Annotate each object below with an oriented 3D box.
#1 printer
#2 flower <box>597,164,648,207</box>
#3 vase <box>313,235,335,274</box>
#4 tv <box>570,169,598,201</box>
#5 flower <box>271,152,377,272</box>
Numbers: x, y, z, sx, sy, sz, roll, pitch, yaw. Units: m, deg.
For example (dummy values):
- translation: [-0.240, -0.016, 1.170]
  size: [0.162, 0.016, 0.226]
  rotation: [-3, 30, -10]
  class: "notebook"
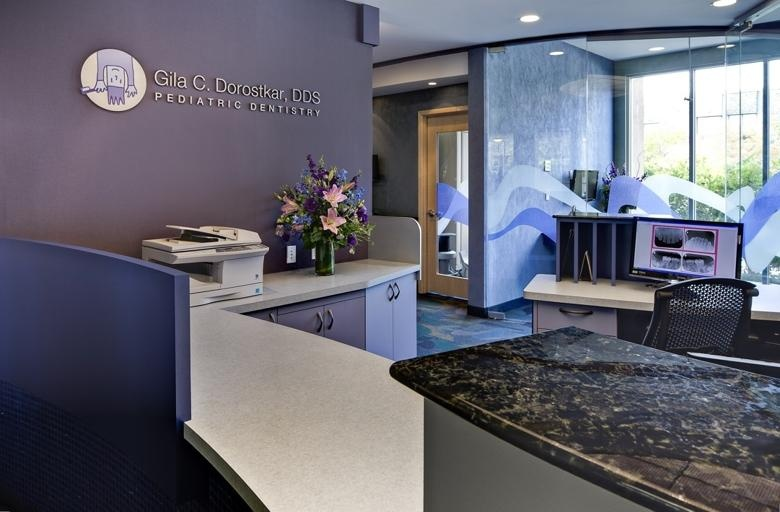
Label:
- translation: [-0.996, 0.019, 2.847]
  size: [0.548, 0.403, 0.543]
  rotation: [-6, 10, -42]
  class: "printer"
- translation: [2.174, -0.673, 4.936]
  size: [0.347, 0.404, 0.309]
  rotation: [-2, -1, 22]
  class: "flower"
- translation: [-0.438, 0.006, 3.484]
  size: [0.171, 0.236, 0.174]
  rotation: [0, 5, -3]
  class: "vase"
- translation: [2.034, -0.746, 5.397]
  size: [0.178, 0.330, 0.338]
  rotation: [-4, 6, -14]
  class: "tv"
- translation: [-0.449, -0.242, 3.560]
  size: [0.631, 0.760, 0.606]
  rotation: [3, 9, 8]
  class: "flower"
